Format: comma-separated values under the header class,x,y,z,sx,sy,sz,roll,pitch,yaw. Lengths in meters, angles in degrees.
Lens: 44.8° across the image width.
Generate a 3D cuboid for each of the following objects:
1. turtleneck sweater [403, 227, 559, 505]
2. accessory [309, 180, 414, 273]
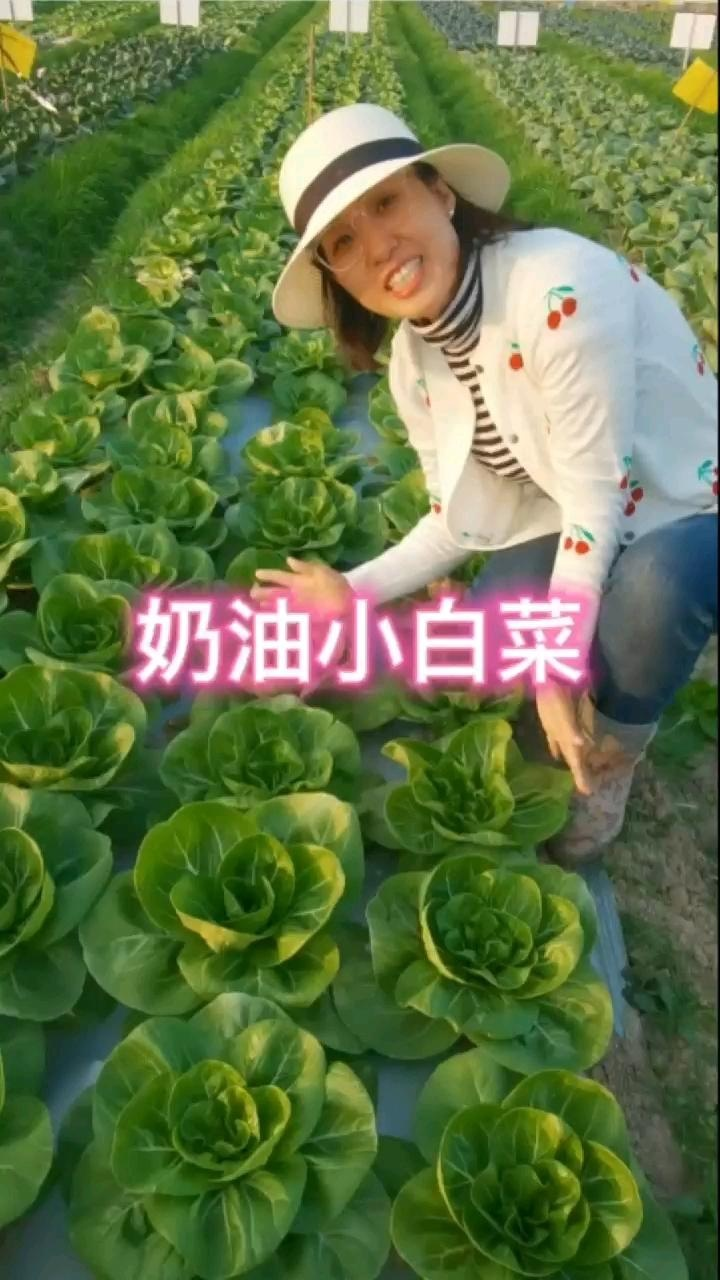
class,x,y,z,sx,sy,sz,roll,pitch,yaw
turtleneck sweater,0.194,-0.467,1.515,0.225,0.185,0.360,-4,64,11
accessory,0.008,-0.611,1.307,0.058,0.133,0.105,52,7,20
